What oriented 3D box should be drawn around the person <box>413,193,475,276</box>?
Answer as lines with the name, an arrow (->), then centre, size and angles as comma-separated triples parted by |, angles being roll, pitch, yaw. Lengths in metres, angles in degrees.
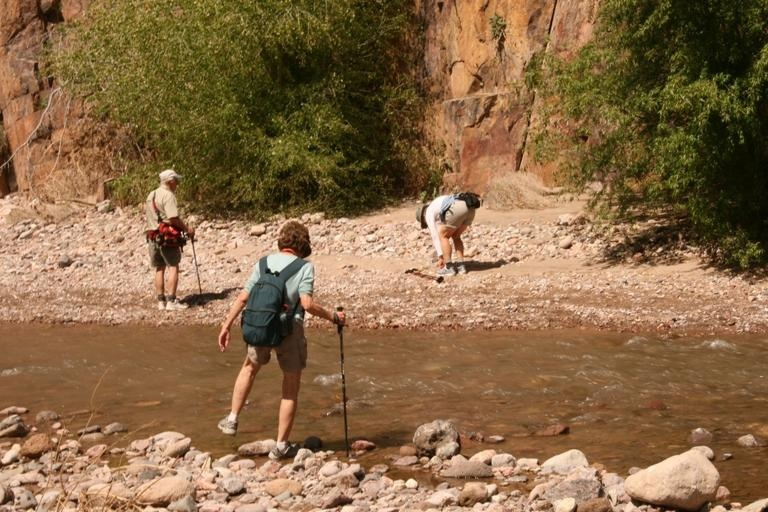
person -> 1.372, -0.485, 18.120 | 0.943, 1.759, 1.321 | -4, 9, -18

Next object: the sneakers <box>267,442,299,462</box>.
sneakers -> -1.369, 2.647, 11.626 | 0.477, 0.194, 0.186 | -14, 28, -37

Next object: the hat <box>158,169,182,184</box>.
hat -> -4.117, -1.589, 16.831 | 0.661, 0.313, 0.473 | -4, 6, -39

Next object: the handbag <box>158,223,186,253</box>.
handbag -> -4.157, -0.385, 16.800 | 0.509, 0.469, 0.412 | -14, 27, -32

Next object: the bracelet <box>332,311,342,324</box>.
bracelet -> -0.630, 0.831, 11.589 | 0.141, 0.151, 0.062 | -3, -15, 2

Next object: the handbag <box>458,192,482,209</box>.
handbag -> 1.870, -1.179, 17.880 | 0.377, 0.221, 0.524 | 6, 1, 20

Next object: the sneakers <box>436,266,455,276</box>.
sneakers -> 1.320, 0.309, 18.169 | 0.404, 0.190, 0.165 | 1, 4, 3
